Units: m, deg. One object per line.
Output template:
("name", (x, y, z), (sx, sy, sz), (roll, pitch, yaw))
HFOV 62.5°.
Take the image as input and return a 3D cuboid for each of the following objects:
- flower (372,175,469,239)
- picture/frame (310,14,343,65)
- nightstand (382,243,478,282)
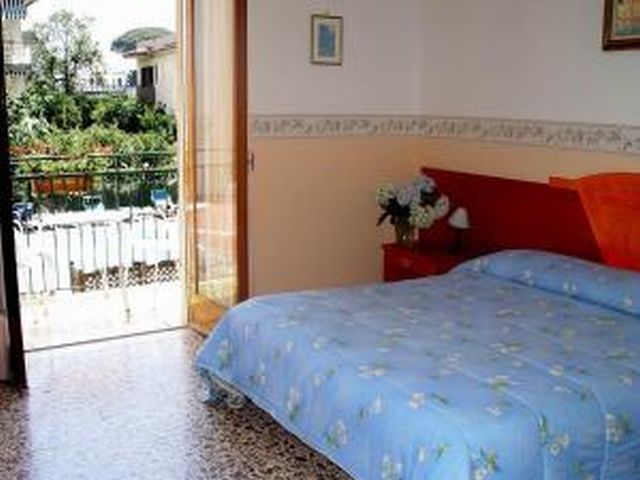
("flower", (0.931, -0.387, 4.711), (0.603, 0.550, 0.604), (15, 19, 40))
("picture/frame", (0.049, -1.838, 4.810), (0.393, 0.519, 0.037), (-6, 12, -33))
("nightstand", (1.020, 0.142, 4.695), (0.386, 0.362, 0.619), (-6, 8, -31))
